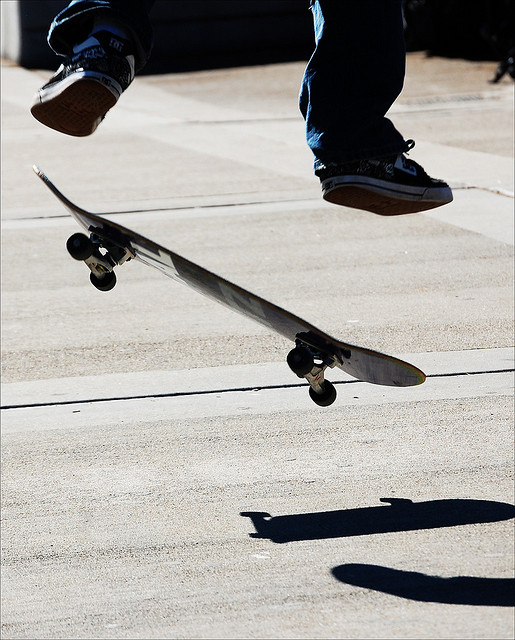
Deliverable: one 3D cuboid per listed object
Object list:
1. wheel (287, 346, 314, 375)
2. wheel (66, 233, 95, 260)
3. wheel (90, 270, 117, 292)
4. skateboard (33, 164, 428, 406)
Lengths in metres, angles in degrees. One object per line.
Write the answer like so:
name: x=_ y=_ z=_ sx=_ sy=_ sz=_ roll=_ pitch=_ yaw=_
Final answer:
wheel: x=0.131 y=0.121 z=3.288 sx=0.067 sy=0.087 sz=0.088 roll=9 pitch=10 yaw=22
wheel: x=-0.596 y=-0.252 z=3.769 sx=0.118 sy=0.077 sz=0.105 roll=3 pitch=9 yaw=-5
wheel: x=-0.556 y=-0.141 z=3.993 sx=0.087 sy=0.072 sz=0.084 roll=27 pitch=12 yaw=-6
skateboard: x=-0.096 y=-0.130 z=4.564 sx=2.144 sy=0.275 sz=0.440 roll=25 pitch=-19 yaw=9
